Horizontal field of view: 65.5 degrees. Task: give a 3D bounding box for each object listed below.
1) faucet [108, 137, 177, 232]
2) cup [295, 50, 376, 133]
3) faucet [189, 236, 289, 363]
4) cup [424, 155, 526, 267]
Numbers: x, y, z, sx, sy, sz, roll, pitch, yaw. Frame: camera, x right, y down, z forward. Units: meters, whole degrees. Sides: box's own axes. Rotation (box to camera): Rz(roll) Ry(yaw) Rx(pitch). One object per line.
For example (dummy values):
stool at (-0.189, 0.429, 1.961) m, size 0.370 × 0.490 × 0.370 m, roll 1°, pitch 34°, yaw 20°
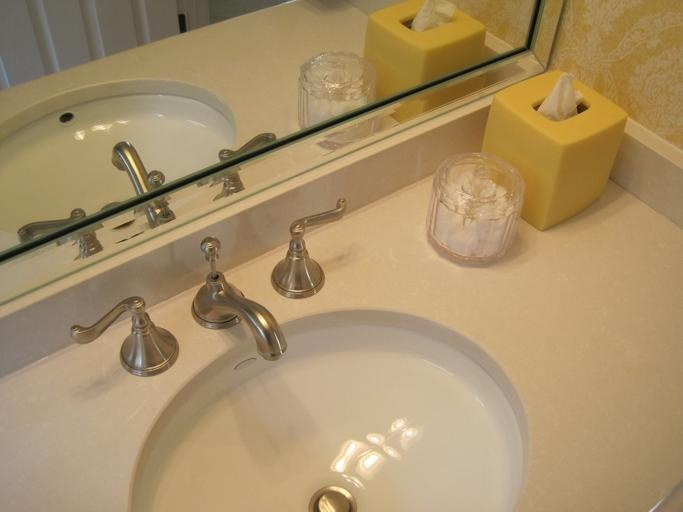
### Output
faucet at (-0.305, -0.135, 0.803) m, size 0.052 × 0.098 × 0.157 m, roll -27°, pitch 67°, yaw -28°
cup at (-0.009, -0.278, 0.881) m, size 0.114 × 0.090 × 0.122 m, roll -1°, pitch 55°, yaw 1°
faucet at (-0.153, 0.077, 0.791) m, size 0.079 × 0.146 × 0.214 m, roll -29°, pitch 59°, yaw -32°
cup at (0.239, -0.094, 0.971) m, size 0.147 × 0.145 × 0.169 m, roll 15°, pitch 59°, yaw 13°
